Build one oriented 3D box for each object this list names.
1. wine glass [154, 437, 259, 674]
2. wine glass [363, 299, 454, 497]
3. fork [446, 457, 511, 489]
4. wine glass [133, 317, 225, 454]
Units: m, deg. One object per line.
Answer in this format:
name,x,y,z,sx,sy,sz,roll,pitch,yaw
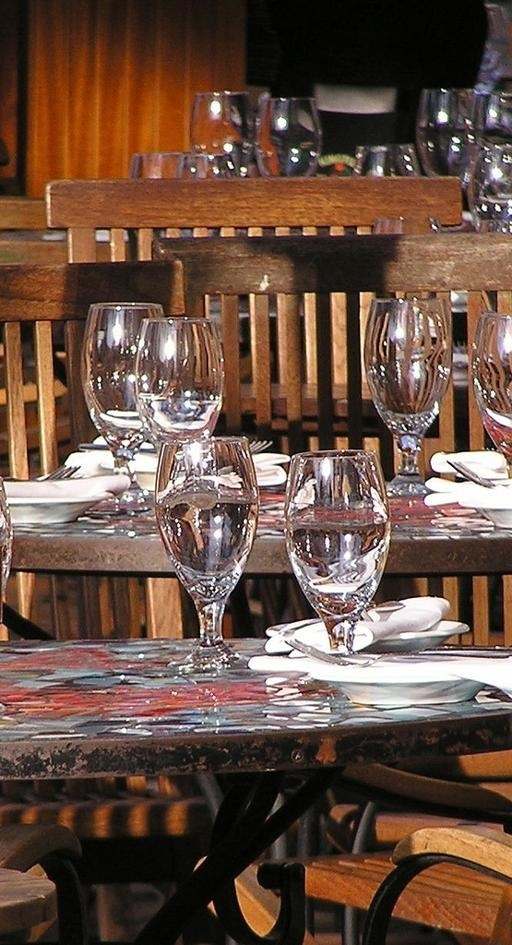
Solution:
wine glass,-0.028,0.049,0.550,0.058,0.133,0.101,-2,8,-6
wine glass,0.176,-0.092,1.142,0.103,0.223,0.154,0,9,8
fork,0.226,0.008,1.010,0.025,0.024,0.084,-32,-23,13
wine glass,-0.077,-0.080,0.929,0.081,0.132,0.080,-1,17,-12
